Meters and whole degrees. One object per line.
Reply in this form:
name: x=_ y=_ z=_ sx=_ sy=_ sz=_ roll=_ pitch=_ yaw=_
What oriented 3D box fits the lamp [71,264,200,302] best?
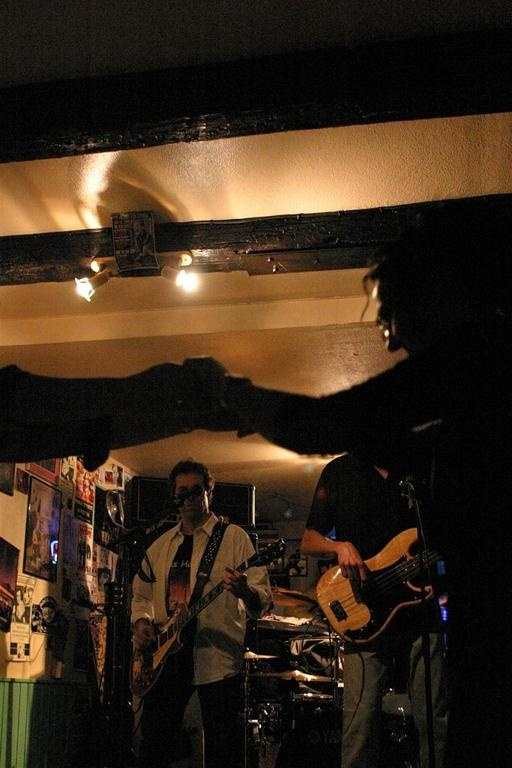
lamp: x=-0.394 y=-0.329 z=2.596 sx=0.460 sy=0.149 sz=0.136 roll=-2 pitch=12 yaw=11

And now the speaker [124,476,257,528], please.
speaker: x=-0.236 y=0.353 z=2.325 sx=0.293 sy=0.168 sz=0.141 roll=1 pitch=-11 yaw=5

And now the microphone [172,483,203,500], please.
microphone: x=-0.202 y=0.327 z=2.396 sx=0.113 sy=0.037 sz=0.034 roll=-13 pitch=16 yaw=25

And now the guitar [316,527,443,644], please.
guitar: x=0.325 y=0.501 z=1.995 sx=0.434 sy=0.163 sz=0.051 roll=-38 pitch=-21 yaw=16
